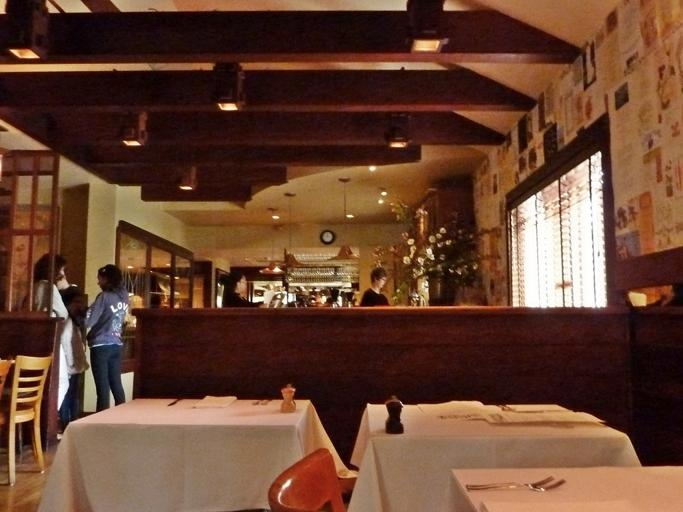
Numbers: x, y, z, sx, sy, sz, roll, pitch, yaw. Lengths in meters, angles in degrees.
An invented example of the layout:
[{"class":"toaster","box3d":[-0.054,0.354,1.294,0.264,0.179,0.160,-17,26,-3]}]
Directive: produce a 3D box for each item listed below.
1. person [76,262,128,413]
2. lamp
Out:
[{"class":"person","box3d":[-2.373,0.794,5.522,0.379,1.440,0.480,0,-8,-1]},{"class":"lamp","box3d":[-1.007,-0.652,11.272,2.886,2.324,1.432,0,5,3]}]
